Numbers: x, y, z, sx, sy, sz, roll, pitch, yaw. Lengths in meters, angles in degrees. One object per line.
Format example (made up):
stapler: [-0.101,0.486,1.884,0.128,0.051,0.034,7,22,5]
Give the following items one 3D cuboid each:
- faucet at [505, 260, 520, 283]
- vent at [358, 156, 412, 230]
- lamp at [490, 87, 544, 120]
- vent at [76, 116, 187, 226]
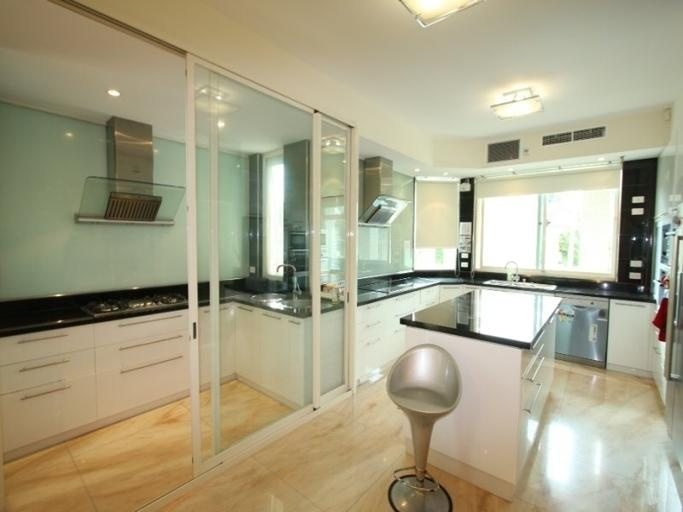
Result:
faucet: [2.498,0.222,7.075,0.197,0.296,0.241,2,5,18]
vent: [0.571,-0.822,6.461,0.483,0.836,1.163,6,4,26]
lamp: [1.875,-1.650,5.211,0.519,0.238,0.400,3,5,23]
vent: [-2.210,-0.877,4.972,1.072,1.233,0.607,-1,0,-42]
